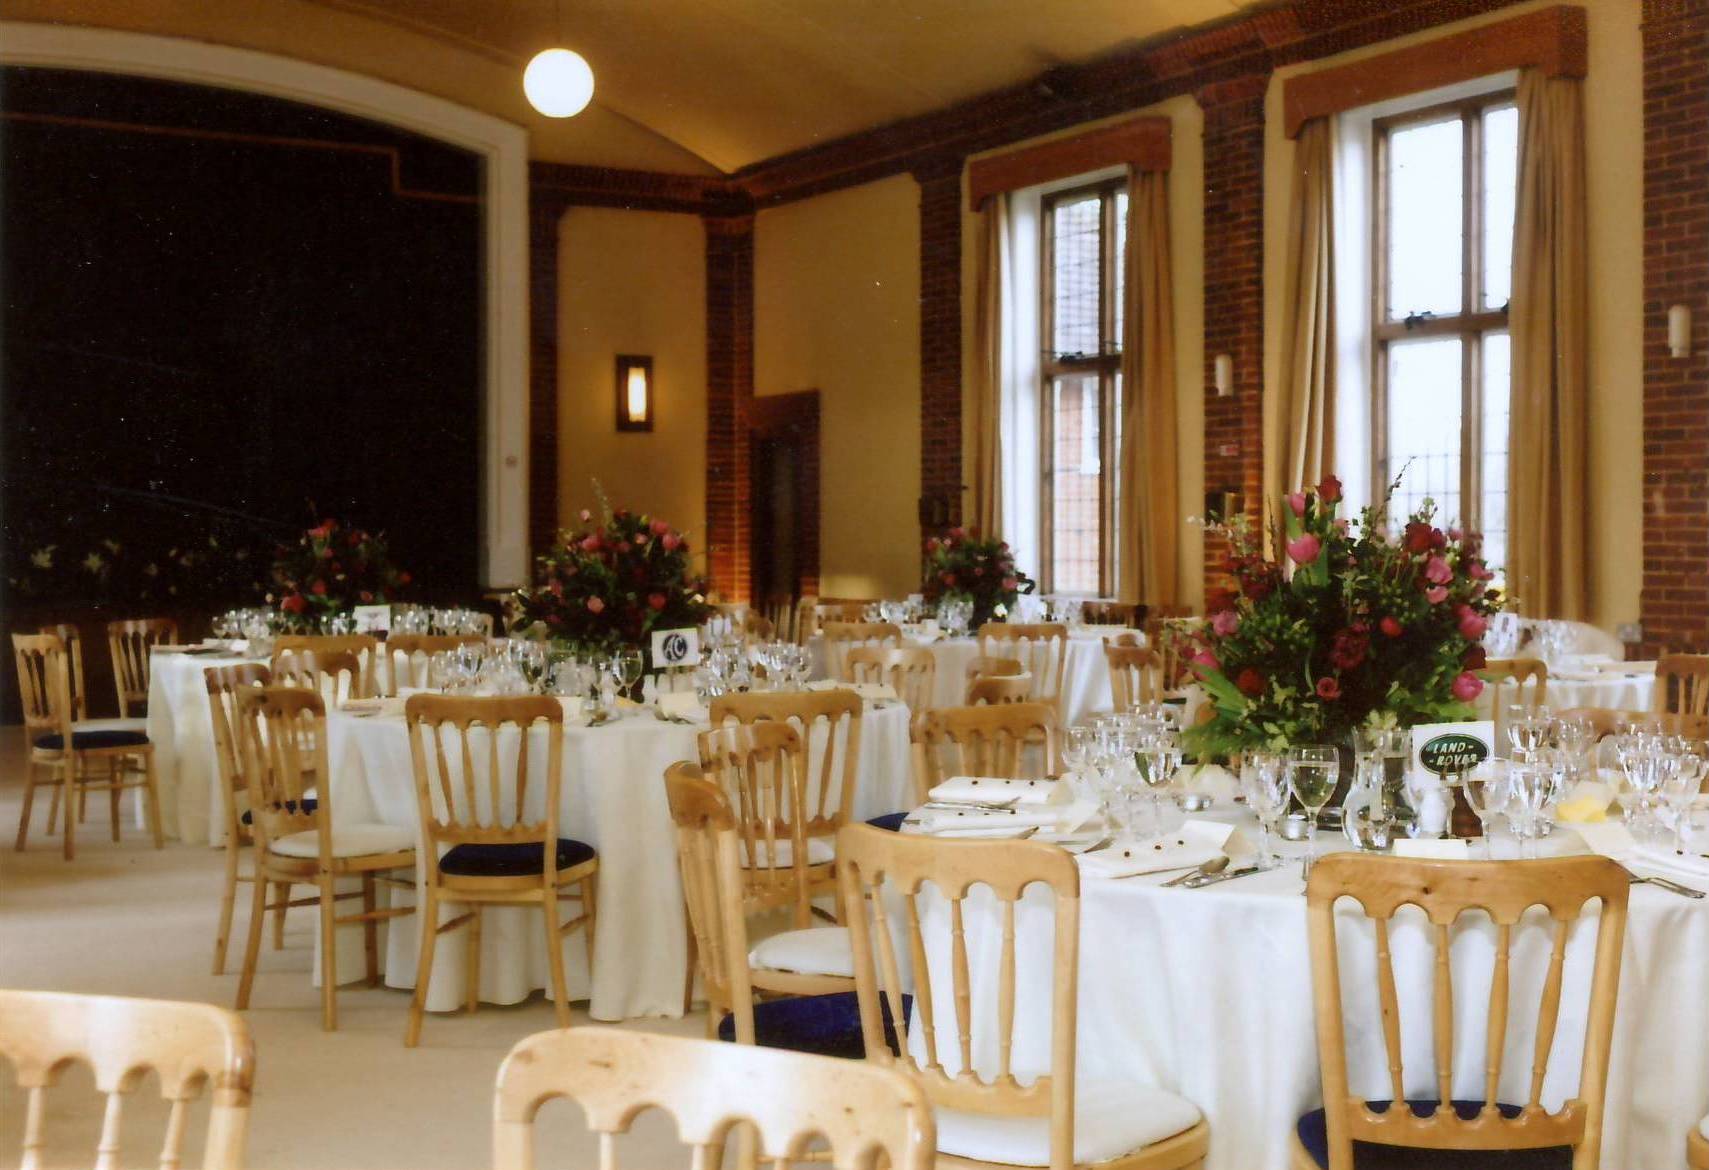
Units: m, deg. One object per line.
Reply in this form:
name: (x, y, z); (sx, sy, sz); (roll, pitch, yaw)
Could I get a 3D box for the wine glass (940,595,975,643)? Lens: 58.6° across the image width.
wine glass: (0.693, 0.241, 10.091); (0.215, 0.264, 0.211); (-1, 3, -23)

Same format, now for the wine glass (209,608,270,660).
wine glass: (-3.591, 0.287, 8.951); (0.340, 0.303, 0.382); (1, -3, -5)

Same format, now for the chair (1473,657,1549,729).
chair: (2.613, 0.437, 6.077); (0.236, 0.440, 0.286); (0, -7, 5)

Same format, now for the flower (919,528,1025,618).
flower: (0.821, -0.015, 10.670); (0.688, 0.763, 0.700); (5, -8, -32)

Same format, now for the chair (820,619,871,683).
chair: (-0.065, 0.406, 9.424); (0.332, 0.467, 0.300); (3, 4, 40)

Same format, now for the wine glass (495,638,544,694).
wine glass: (-1.403, 0.352, 6.433); (0.186, 0.252, 0.203); (0, -1, -2)

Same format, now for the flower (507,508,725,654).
flower: (-1.052, 0.086, 6.640); (0.618, 0.580, 0.667); (-5, -2, 15)

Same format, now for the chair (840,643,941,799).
chair: (0.170, 0.627, 6.588); (0.412, 0.634, 0.408); (-11, 5, -38)

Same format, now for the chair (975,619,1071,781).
chair: (1.073, 0.567, 9.084); (0.538, 1.058, 0.643); (0, -5, 7)

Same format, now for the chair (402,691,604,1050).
chair: (-1.341, 1.062, 5.790); (0.729, 1.301, 0.685); (-2, -1, -2)

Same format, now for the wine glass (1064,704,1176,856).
wine glass: (0.758, 0.583, 4.495); (0.286, 0.392, 0.323); (-1, -6, 3)

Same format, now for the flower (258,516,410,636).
flower: (-3.167, -0.040, 9.277); (0.733, 0.696, 0.582); (-1, -2, -24)

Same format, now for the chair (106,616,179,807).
chair: (-4.536, 0.709, 9.877); (0.523, 0.946, 0.507); (5, 5, 32)

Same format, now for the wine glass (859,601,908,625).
wine glass: (0.219, 0.200, 10.692); (0.235, 0.130, 0.206); (-2, -5, 13)

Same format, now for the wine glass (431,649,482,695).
wine glass: (-1.686, 0.387, 6.459); (0.165, 0.213, 0.183); (3, -5, -9)

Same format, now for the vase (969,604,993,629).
vase: (0.852, 0.237, 10.320); (0.152, 0.250, 0.141); (4, -3, -38)
